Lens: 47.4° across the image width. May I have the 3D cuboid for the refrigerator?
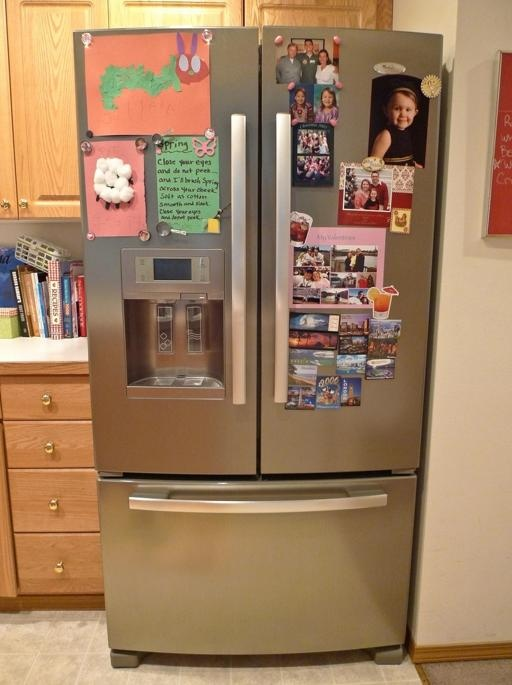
[{"bbox_3d":[0.008,0.102,1.577,0.898,1.752,0.410,1,18,10],"label":"refrigerator"}]
